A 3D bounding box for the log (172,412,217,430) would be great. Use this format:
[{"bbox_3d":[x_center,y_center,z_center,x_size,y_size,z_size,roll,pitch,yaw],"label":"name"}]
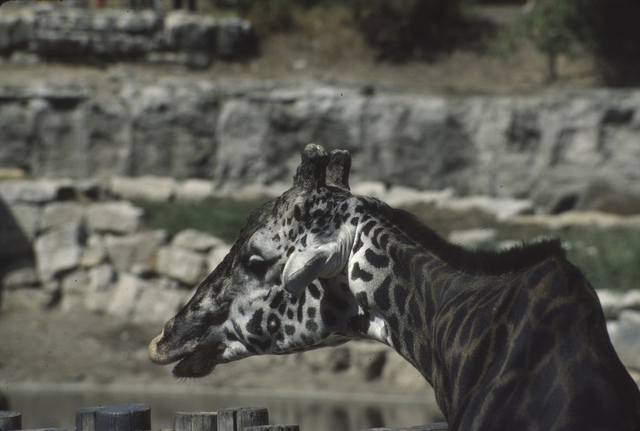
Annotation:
[{"bbox_3d":[-1.068,1.788,13.904,0.239,0.158,0.187,7,-7,-40],"label":"log"}]
